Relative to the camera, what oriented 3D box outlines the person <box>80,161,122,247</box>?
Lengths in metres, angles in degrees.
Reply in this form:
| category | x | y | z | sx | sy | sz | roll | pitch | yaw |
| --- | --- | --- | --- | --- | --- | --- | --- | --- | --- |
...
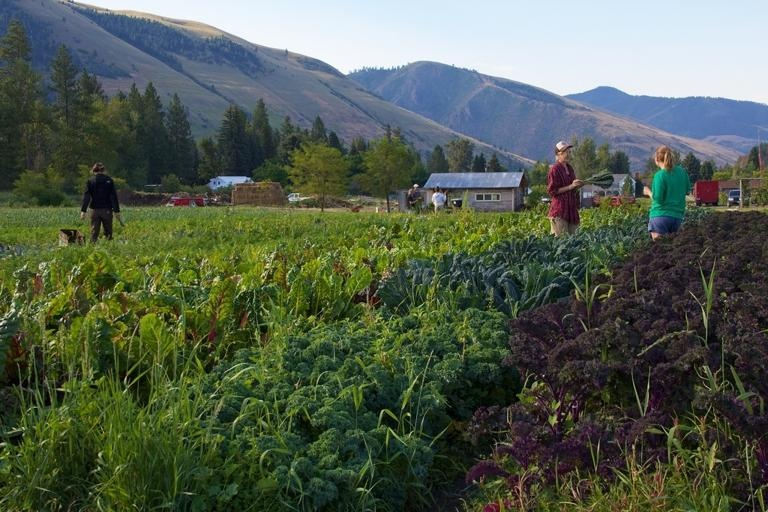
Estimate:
| category | x | y | z | sx | sy | sz | roll | pitch | yaw |
| --- | --- | --- | --- | --- | --- | --- | --- | --- | --- |
| person | -5.729 | -1.110 | 14.079 | 0.699 | 1.535 | 1.246 | -4 | 6 | -24 |

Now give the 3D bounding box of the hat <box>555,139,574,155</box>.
| category | x | y | z | sx | sy | sz | roll | pitch | yaw |
| --- | --- | --- | --- | --- | --- | --- | --- | --- | --- |
| hat | 2.599 | -1.561 | 10.148 | 0.191 | 0.159 | 0.284 | -16 | -1 | -36 |

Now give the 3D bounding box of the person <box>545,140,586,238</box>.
| category | x | y | z | sx | sy | sz | roll | pitch | yaw |
| --- | --- | --- | --- | --- | --- | --- | --- | --- | --- |
| person | 2.749 | -1.051 | 10.615 | 0.484 | 1.399 | 2.087 | 0 | 6 | 14 |

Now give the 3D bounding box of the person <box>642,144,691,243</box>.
| category | x | y | z | sx | sy | sz | roll | pitch | yaw |
| --- | --- | --- | --- | --- | --- | --- | --- | --- | --- |
| person | 3.833 | -0.864 | 9.451 | 0.584 | 1.304 | 1.917 | 1 | 6 | 23 |
